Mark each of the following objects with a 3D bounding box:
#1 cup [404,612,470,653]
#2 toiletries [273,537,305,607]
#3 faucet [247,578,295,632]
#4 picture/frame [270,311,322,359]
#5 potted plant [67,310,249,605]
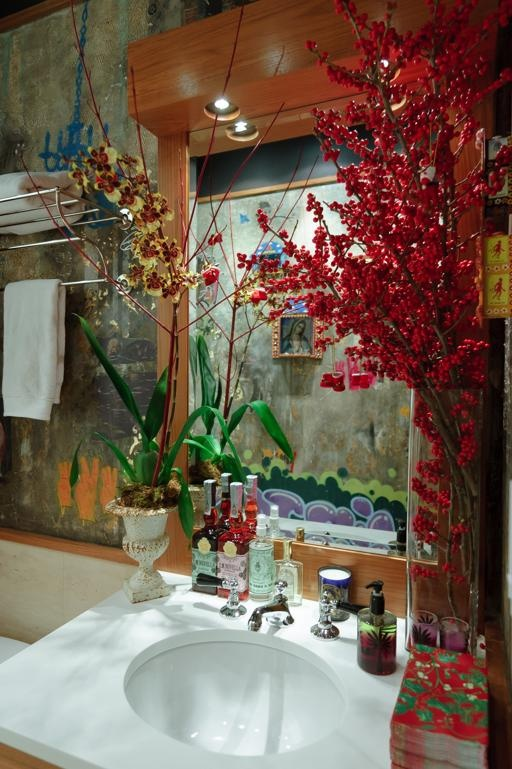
[{"bbox_3d":[0.278,0.380,0.926,0.050,0.061,0.078,2,4,34],"label":"cup"},{"bbox_3d":[0.063,0.372,1.189,0.055,0.126,0.026,-1,1,15],"label":"toiletries"},{"bbox_3d":[0.029,0.408,1.108,0.072,0.105,0.062,33,-45,-30],"label":"faucet"},{"bbox_3d":[0.082,-0.099,1.201,0.102,0.084,0.010,1,1,19],"label":"picture/frame"},{"bbox_3d":[-0.273,0.190,1.616,0.581,0.906,0.363,-1,3,-23],"label":"potted plant"}]
